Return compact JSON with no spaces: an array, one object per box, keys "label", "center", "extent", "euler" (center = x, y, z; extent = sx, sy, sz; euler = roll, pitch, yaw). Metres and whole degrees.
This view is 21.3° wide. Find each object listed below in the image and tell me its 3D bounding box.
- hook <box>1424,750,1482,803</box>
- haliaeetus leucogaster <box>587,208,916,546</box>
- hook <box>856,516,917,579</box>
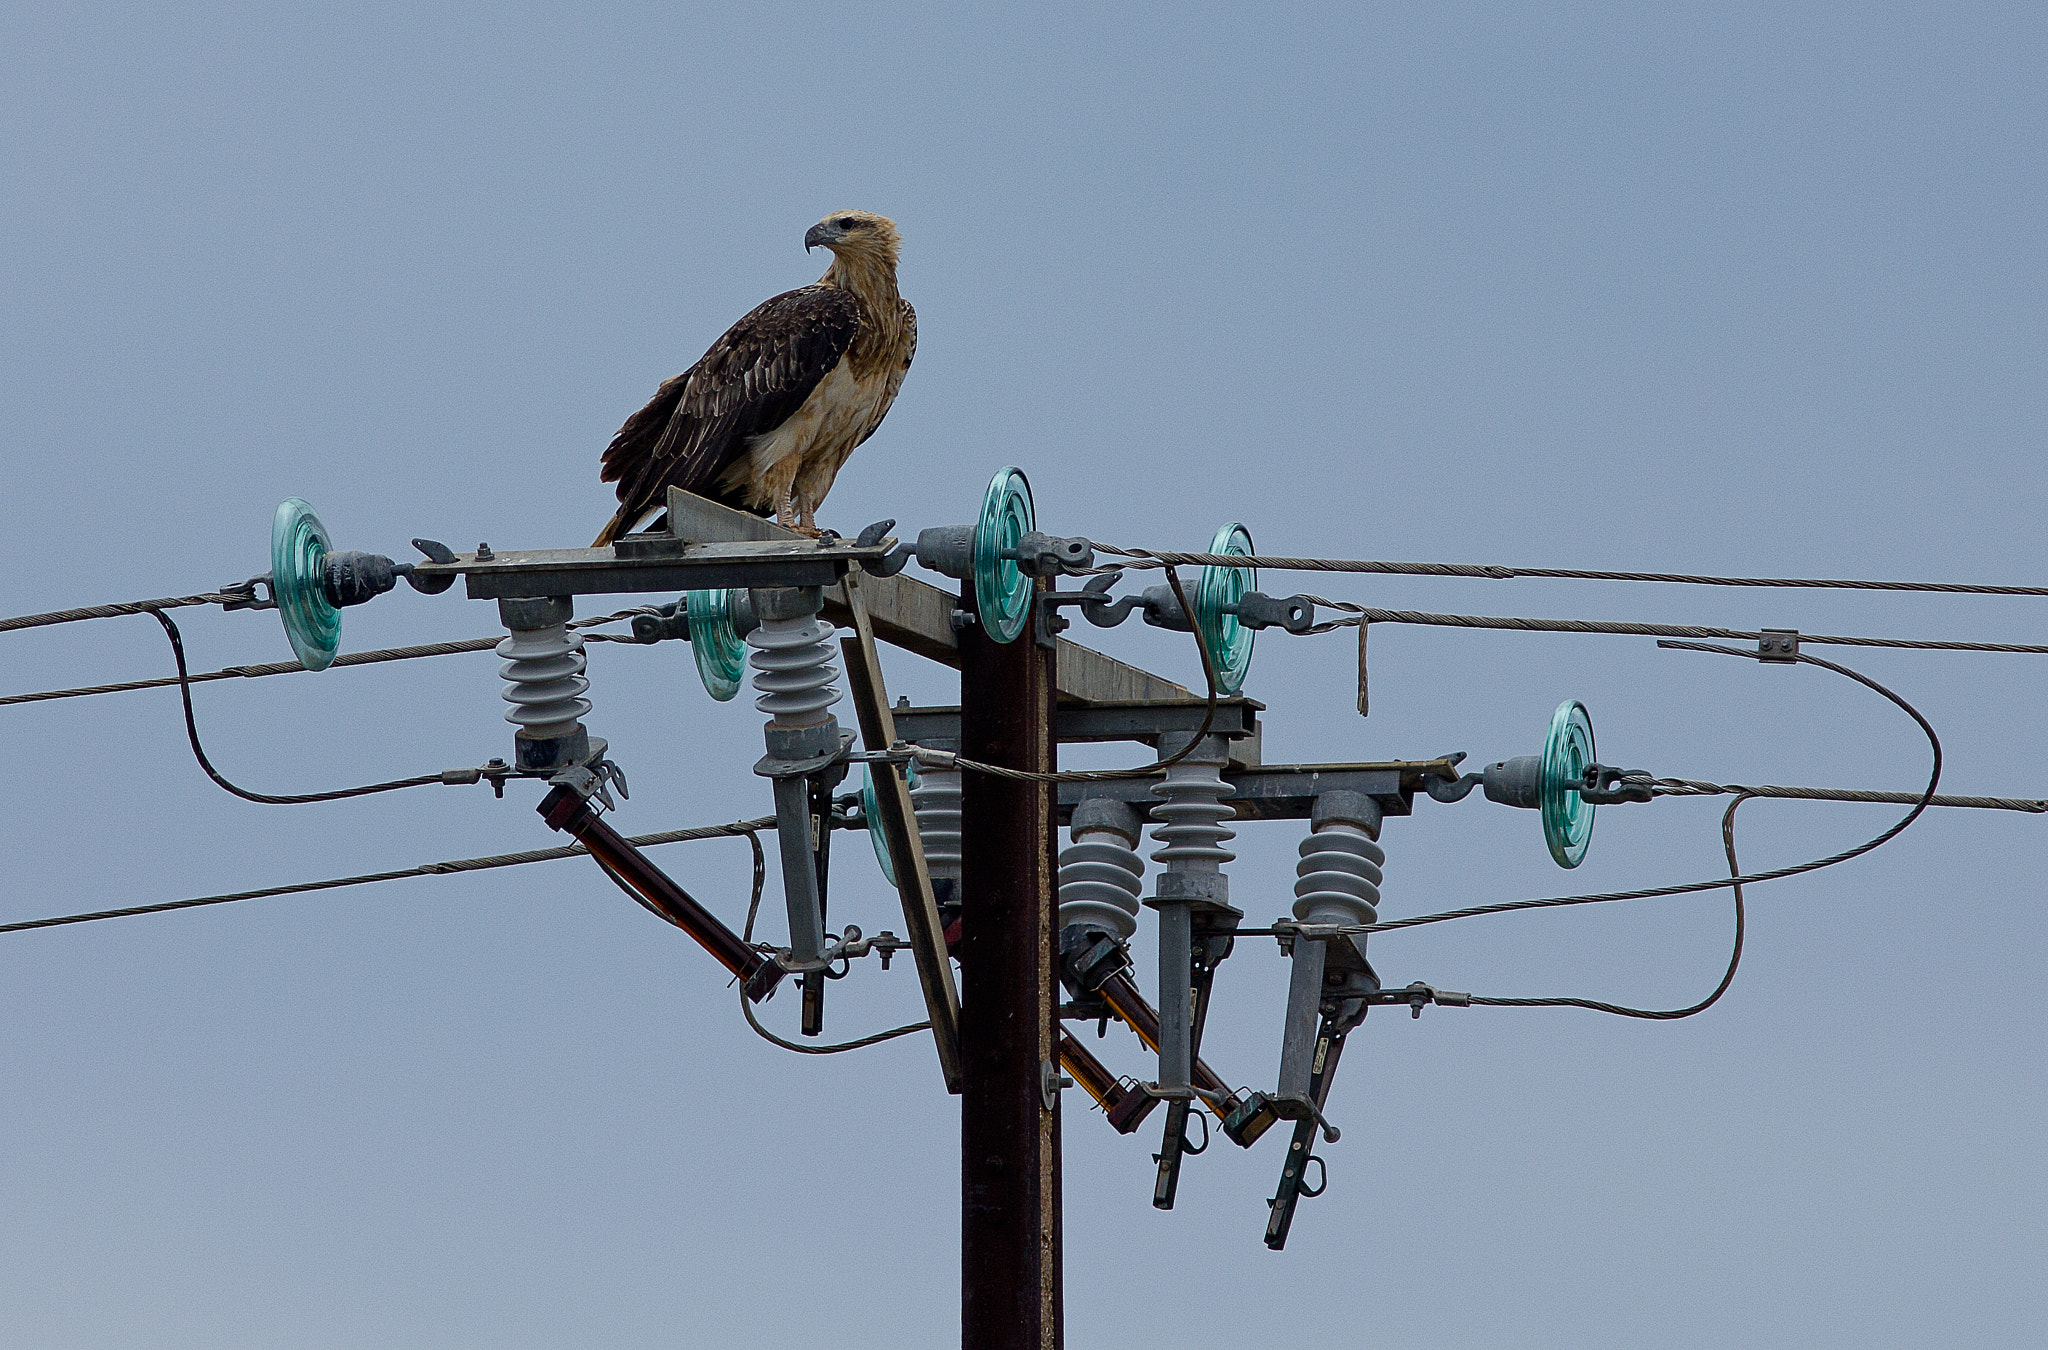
[{"label":"hook","center":[2.544,0.615,31.779],"extent":[0.309,0.379,0.778],"euler":[2,-11,0]},{"label":"haliaeetus leucogaster","center":[-1.452,-1.867,32.666],"extent":[1.651,2.060,0.786],"euler":[11,-14,-40]},{"label":"hook","center":[-0.777,-0.670,30.191],"extent":[0.335,0.297,0.906],"euler":[2,-11,-1]}]
